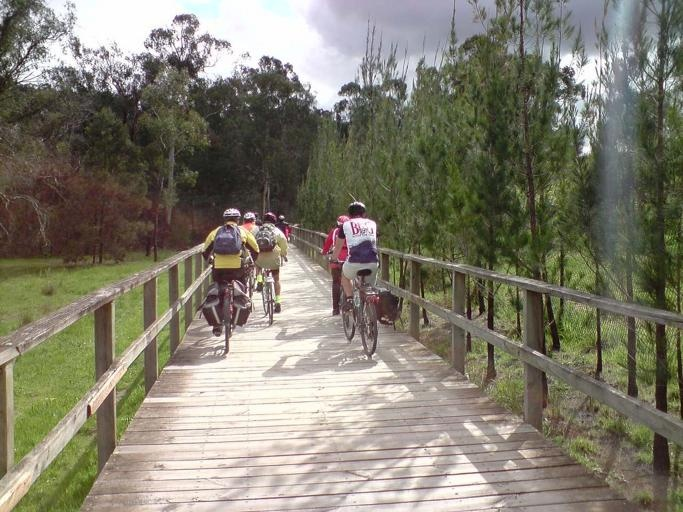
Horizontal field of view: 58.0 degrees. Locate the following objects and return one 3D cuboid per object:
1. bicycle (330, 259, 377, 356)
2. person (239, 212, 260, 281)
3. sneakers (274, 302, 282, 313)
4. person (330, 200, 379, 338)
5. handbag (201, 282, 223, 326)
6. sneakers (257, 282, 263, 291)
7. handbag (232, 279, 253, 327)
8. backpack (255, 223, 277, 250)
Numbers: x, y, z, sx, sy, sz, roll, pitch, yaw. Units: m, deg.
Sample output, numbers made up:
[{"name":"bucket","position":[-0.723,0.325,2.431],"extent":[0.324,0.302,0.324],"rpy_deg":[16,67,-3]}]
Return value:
[{"name":"bicycle","position":[0.180,0.829,9.432],"extent":[0.456,0.829,1.144],"rpy_deg":[0,9,-8]},{"name":"person","position":[-1.719,-0.128,11.612],"extent":[0.363,1.677,0.584],"rpy_deg":[0,12,4]},{"name":"sneakers","position":[-1.246,1.012,12.154],"extent":[0.122,0.208,0.152],"rpy_deg":[1,-12,1]},{"name":"person","position":[0.173,0.019,9.770],"extent":[0.549,1.838,0.950],"rpy_deg":[-1,-4,-8]},{"name":"handbag","position":[-1.973,0.735,9.419],"extent":[0.148,0.621,0.305],"rpy_deg":[-3,4,11]},{"name":"sneakers","position":[-1.743,0.654,13.244],"extent":[0.139,0.238,0.168],"rpy_deg":[1,0,-13]},{"name":"handbag","position":[-1.540,0.745,9.628],"extent":[0.253,0.749,0.470],"rpy_deg":[0,8,-3]},{"name":"backpack","position":[-1.460,-0.439,12.103],"extent":[0.314,0.567,0.213],"rpy_deg":[11,-38,-25]}]
